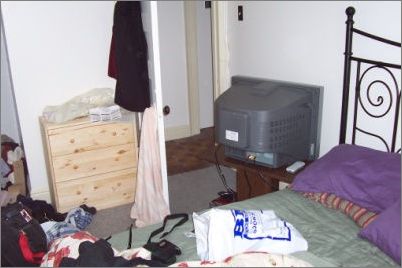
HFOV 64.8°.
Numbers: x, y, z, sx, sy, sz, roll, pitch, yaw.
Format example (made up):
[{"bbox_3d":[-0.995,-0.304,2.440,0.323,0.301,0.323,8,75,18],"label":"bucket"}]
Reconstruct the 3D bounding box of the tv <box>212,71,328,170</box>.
[{"bbox_3d":[0.641,-0.220,2.900,1.039,0.709,0.792,15,25,41],"label":"tv"}]

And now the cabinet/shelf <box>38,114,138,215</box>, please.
[{"bbox_3d":[-1.204,0.306,3.409,0.949,1.029,0.563,-8,15,-24],"label":"cabinet/shelf"}]

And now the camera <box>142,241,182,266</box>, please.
[{"bbox_3d":[-0.242,0.749,2.008,0.145,0.042,0.142,-13,33,-35],"label":"camera"}]

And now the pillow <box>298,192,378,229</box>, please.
[{"bbox_3d":[1.058,0.552,2.353,0.179,0.068,0.287,-35,48,-22],"label":"pillow"}]

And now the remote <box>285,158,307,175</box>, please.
[{"bbox_3d":[0.835,0.282,2.780,0.175,0.028,0.083,-22,25,-31],"label":"remote"}]
